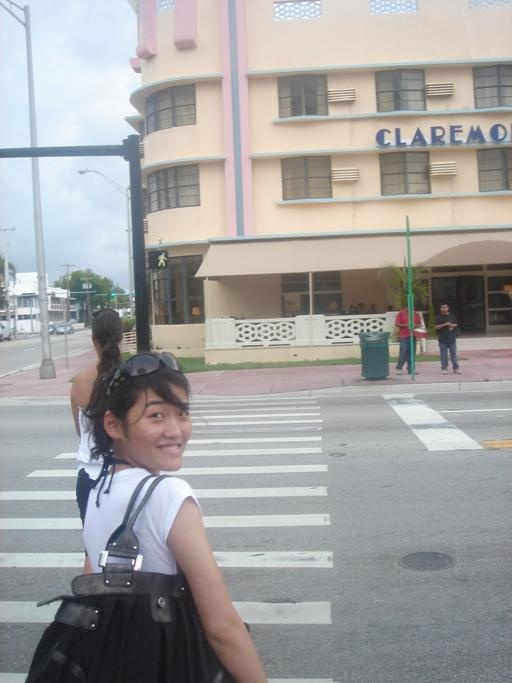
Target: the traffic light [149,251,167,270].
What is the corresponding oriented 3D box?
[{"bbox_3d":[-3.831,-3.136,26.907,0.851,0.818,0.833,-4,13,-25],"label":"traffic light"}]
